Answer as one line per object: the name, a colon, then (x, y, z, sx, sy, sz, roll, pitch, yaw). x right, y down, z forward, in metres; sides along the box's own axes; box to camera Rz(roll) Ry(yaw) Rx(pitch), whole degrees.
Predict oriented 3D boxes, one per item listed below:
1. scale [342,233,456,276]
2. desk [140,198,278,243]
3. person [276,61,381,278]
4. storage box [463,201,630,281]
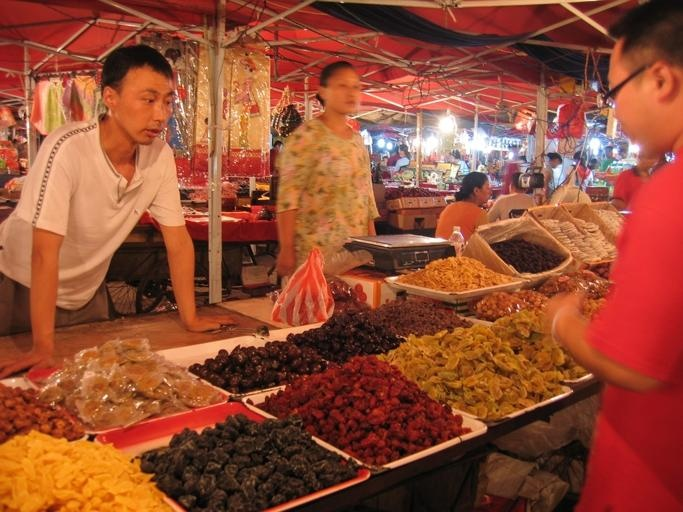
scale: (0.370, -0.052, 3.228, 0.718, 0.222, 0.396, 3, 9, 22)
desk: (-1.438, -0.412, 5.921, 1.379, 0.368, 0.753, -6, 11, -29)
person: (-0.038, -0.369, 3.075, 0.543, 1.320, 0.547, -4, 15, -33)
storage box: (1.352, -0.150, 4.032, 1.336, 0.630, 0.736, 2, 1, -43)
